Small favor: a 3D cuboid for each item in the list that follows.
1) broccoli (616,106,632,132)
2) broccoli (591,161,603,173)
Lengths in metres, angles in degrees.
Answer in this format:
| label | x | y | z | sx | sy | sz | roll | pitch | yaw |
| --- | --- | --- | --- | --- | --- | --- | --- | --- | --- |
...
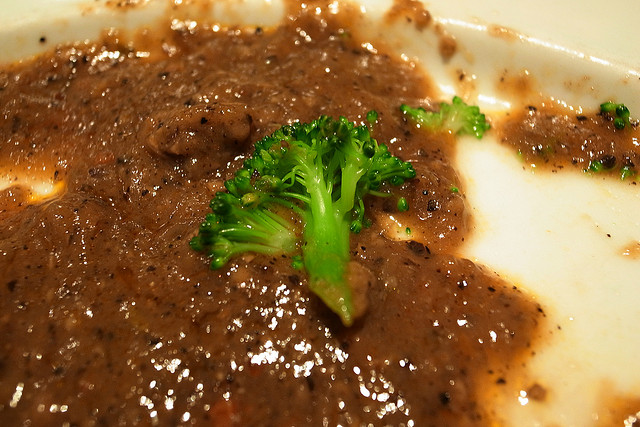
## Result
| label | x | y | z | sx | sy | sz | roll | pitch | yaw |
| --- | --- | --- | --- | --- | --- | --- | --- | --- | --- |
| broccoli | 2.067 | -0.667 | 4.086 | 0.059 | 0.056 | 0.208 | -17 | 76 | 1 |
| broccoli | 1.903 | -0.317 | 4.067 | 0.049 | 0.018 | 0.072 | -9 | 82 | 12 |
